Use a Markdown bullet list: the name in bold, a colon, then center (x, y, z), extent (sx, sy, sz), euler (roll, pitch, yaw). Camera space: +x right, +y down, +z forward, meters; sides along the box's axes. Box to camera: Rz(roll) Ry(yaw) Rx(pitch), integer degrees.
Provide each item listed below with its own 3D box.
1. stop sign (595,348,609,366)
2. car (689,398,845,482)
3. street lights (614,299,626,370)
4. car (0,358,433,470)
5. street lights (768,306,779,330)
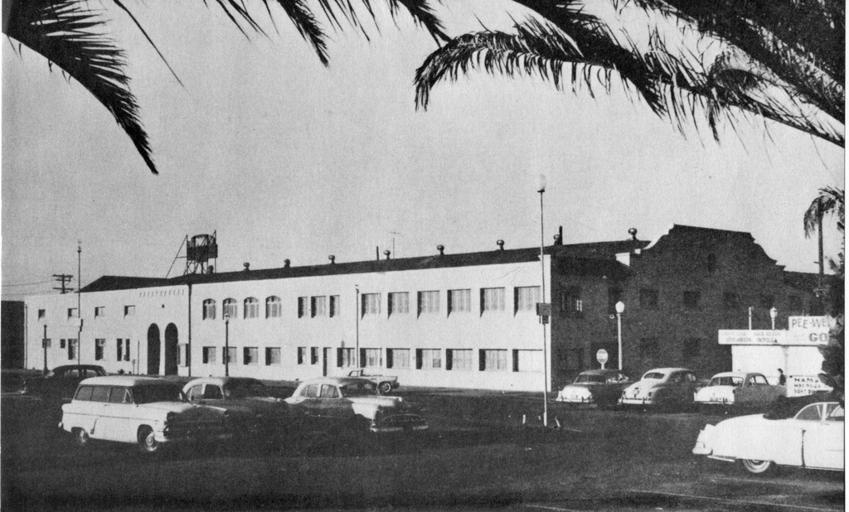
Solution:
- **stop sign**: center (3.745, 2.149, 27.645), extent (0.106, 0.413, 0.436), euler (-6, -12, 43)
- **car**: center (6.778, 3.559, 25.349), extent (2.047, 0.845, 1.330), euler (-8, -5, 28)
- **street lights**: center (4.145, 1.686, 27.844), extent (0.242, 1.411, 0.346), euler (0, -8, 12)
- **car**: center (-4.512, 3.145, 25.388), extent (7.439, 1.618, 0.787), euler (2, -8, -3)
- **street lights**: center (7.444, 1.292, 27.989), extent (0.177, 0.502, 0.327), euler (-1, -9, 14)
